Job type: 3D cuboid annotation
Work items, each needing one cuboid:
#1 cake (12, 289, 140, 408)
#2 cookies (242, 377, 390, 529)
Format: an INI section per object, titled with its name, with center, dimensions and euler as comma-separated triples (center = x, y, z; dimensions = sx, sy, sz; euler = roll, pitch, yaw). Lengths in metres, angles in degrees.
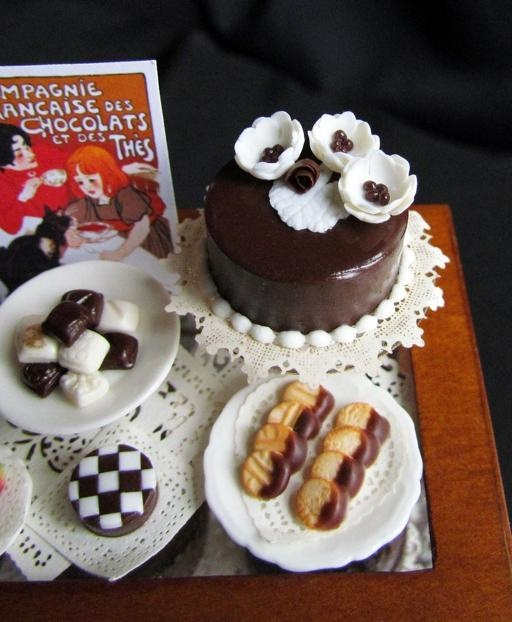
[cake]
center = -0.308, 0.063, 1.041
dimensions = 0.225, 0.067, 0.202
euler = 13, 46, 5
[cookies]
center = 0.090, 0.232, 0.981
dimensions = 0.235, 0.064, 0.243
euler = 20, 51, 21
